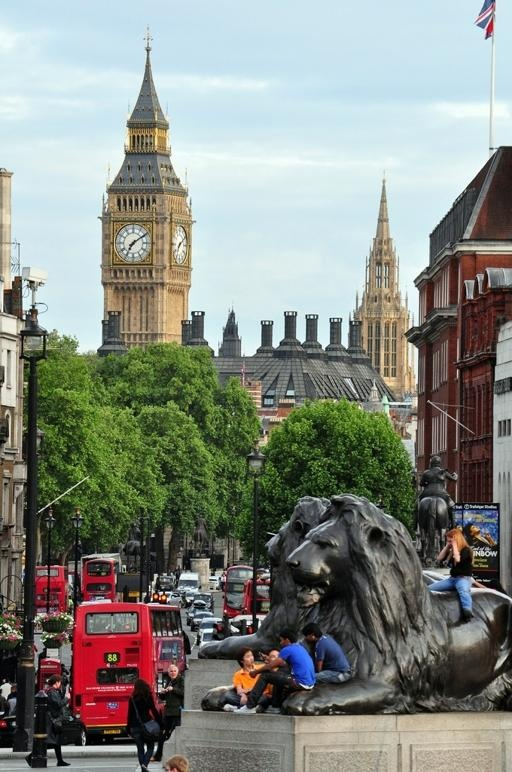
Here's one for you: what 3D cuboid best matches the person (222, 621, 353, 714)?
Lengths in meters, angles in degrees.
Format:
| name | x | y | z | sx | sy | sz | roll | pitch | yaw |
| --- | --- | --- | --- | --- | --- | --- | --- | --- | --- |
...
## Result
| name | x | y | z | sx | sy | sz | roll | pitch | yaw |
| --- | --- | --- | --- | --- | --- | --- | --- | --- | --- |
| person | 0.232 | 2.405 | 16.544 | 0.690 | 0.682 | 1.538 | -11 | -3 | -21 |

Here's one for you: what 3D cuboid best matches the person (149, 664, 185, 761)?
| name | x | y | z | sx | sy | sz | roll | pitch | yaw |
| --- | --- | --- | --- | --- | --- | --- | --- | --- | --- |
| person | -1.222 | 4.492 | 26.632 | 0.398 | 1.338 | 0.435 | -10 | -31 | 36 |

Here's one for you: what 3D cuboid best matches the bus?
| name | x | y | z | sx | sy | sz | roll | pitch | yaw |
| --- | --- | --- | --- | --- | --- | --- | --- | --- | --- |
| bus | -2.505 | 5.235 | 37.629 | 1.309 | 2.790 | 4.572 | 0 | -4 | 5 |
